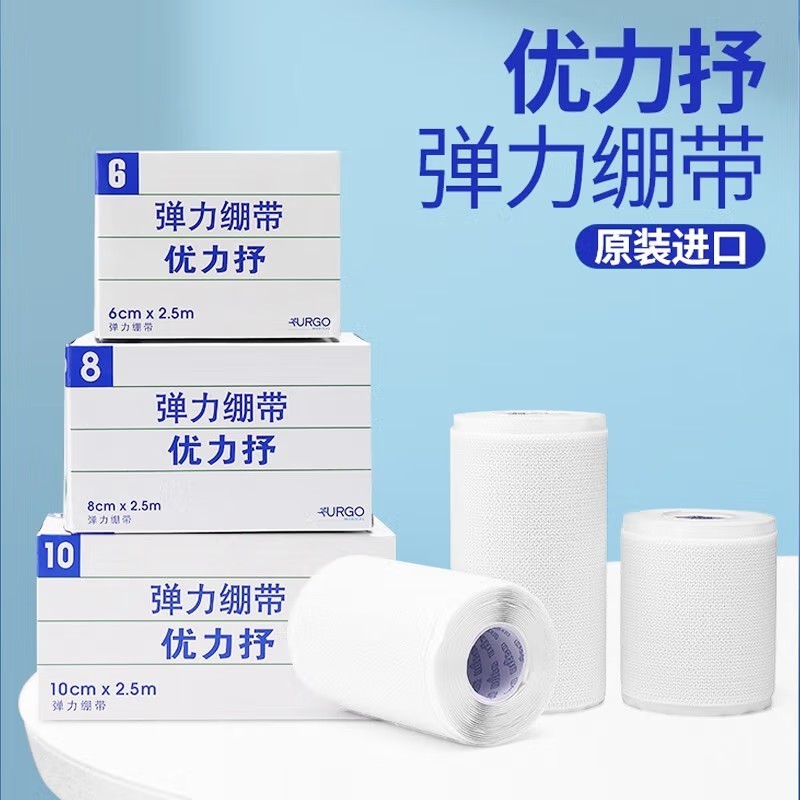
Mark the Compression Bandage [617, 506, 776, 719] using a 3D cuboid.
[{"bbox_3d":[0.306,0.206,1.202,0.174,0.184,0.171,3,-11,3],"label":"Compression Bandage"}]

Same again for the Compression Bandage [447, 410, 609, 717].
[{"bbox_3d":[0.108,0.142,1.209,0.186,0.310,0.182,9,-31,-5],"label":"Compression Bandage"}]

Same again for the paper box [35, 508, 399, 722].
[{"bbox_3d":[-0.158,0.216,1.221,0.355,0.158,0.207,-1,-8,-1],"label":"paper box"}]

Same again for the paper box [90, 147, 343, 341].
[{"bbox_3d":[-0.149,-0.154,1.233,0.304,0.167,0.307,-5,8,-40],"label":"paper box"}]

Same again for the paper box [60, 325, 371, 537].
[{"bbox_3d":[-0.165,0.036,1.127,0.208,0.124,0.207,0,-1,-4],"label":"paper box"}]
